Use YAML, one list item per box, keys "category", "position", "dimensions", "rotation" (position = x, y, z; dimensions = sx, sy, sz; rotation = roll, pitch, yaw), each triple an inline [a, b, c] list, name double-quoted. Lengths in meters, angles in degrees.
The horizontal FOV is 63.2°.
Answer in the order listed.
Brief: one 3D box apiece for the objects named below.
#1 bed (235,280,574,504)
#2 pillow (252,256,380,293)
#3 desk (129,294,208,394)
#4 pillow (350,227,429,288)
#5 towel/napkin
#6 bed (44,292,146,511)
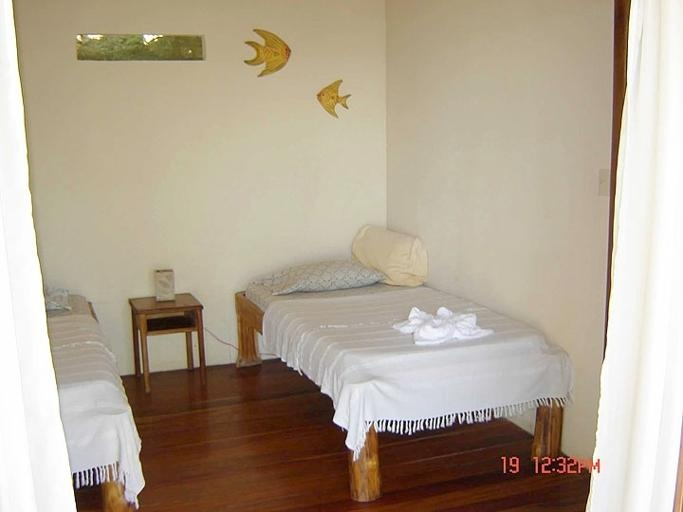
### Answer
- category: "bed"
  position: [0.263, 0.668, 3.322]
  dimensions: [1.270, 0.643, 1.775]
  rotation: [-6, 11, -27]
- category: "pillow"
  position: [-0.138, 0.156, 4.044]
  dimensions: [0.621, 0.145, 0.390]
  rotation: [-4, 6, -19]
- category: "desk"
  position: [-1.284, 0.629, 4.078]
  dimensions: [0.524, 0.647, 0.540]
  rotation: [-5, 11, -38]
- category: "pillow"
  position: [0.373, -0.027, 4.277]
  dimensions: [0.211, 0.380, 0.535]
  rotation: [-11, 22, -42]
- category: "towel/napkin"
  position: [0.540, 0.385, 2.913]
  dimensions: [0.256, 0.091, 0.264]
  rotation: [-3, 8, -19]
- category: "bed"
  position: [-1.210, 0.603, 2.638]
  dimensions: [0.580, 1.098, 0.300]
  rotation: [-1, -40, -34]
